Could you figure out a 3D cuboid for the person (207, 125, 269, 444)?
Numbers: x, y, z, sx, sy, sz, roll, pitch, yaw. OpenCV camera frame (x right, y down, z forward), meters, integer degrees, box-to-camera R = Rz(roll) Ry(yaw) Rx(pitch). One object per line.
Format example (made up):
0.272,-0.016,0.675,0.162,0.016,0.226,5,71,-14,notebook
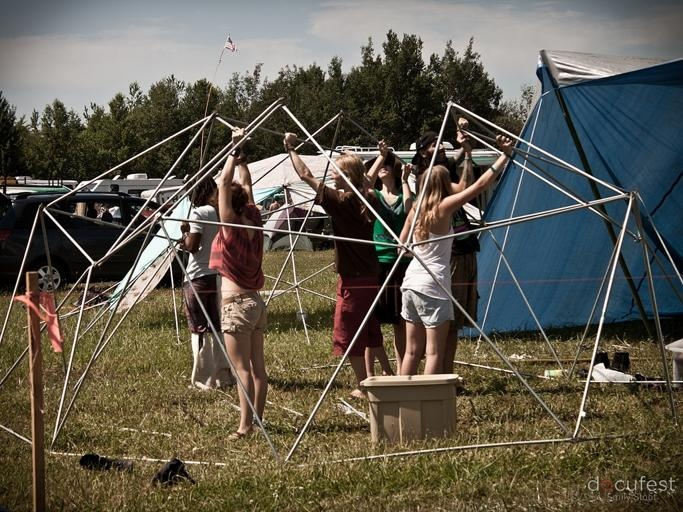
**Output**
-0.856,0.237,6.391,0.447,2.505,0.999,-2,10,-6,person

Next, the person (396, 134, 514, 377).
0.810,0.211,6.460,0.922,1.917,0.724,-8,12,-34,person

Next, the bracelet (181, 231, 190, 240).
-1.591,-0.202,7.931,0.103,0.086,0.042,-25,-34,30,bracelet

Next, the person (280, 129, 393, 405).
0.011,0.148,6.836,0.854,2.438,0.784,-3,10,-11,person

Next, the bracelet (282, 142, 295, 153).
-0.444,-0.921,6.747,0.091,0.091,0.096,17,39,24,bracelet

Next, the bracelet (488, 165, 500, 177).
1.247,-0.688,6.299,0.075,0.083,0.081,-5,-6,29,bracelet
